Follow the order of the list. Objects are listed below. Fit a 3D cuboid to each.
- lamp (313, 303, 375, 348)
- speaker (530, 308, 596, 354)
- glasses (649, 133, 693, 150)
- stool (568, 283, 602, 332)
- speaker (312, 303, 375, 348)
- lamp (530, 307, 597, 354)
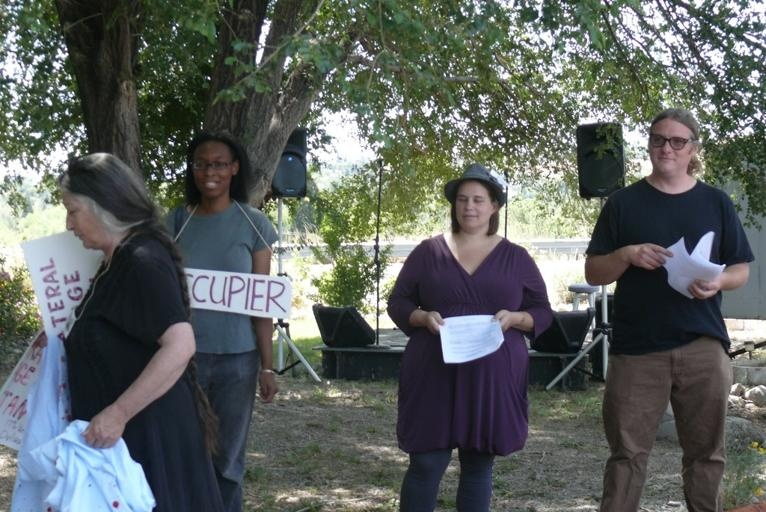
[{"bbox_3d":[-0.582,1.026,10.104,0.645,0.285,0.678,11,5,8],"label":"lamp"},{"bbox_3d":[2.159,0.920,8.419,0.563,0.551,0.733,-8,2,0],"label":"speaker"},{"bbox_3d":[1.865,-0.735,4.588,0.249,0.107,0.069,2,5,23],"label":"glasses"},{"bbox_3d":[3.588,0.924,12.658,0.544,0.872,0.585,0,7,14],"label":"stool"},{"bbox_3d":[-0.571,1.019,10.122,0.890,0.643,0.603,1,4,4],"label":"speaker"},{"bbox_3d":[2.546,1.023,9.733,0.709,0.536,0.721,-7,-2,10],"label":"lamp"}]
